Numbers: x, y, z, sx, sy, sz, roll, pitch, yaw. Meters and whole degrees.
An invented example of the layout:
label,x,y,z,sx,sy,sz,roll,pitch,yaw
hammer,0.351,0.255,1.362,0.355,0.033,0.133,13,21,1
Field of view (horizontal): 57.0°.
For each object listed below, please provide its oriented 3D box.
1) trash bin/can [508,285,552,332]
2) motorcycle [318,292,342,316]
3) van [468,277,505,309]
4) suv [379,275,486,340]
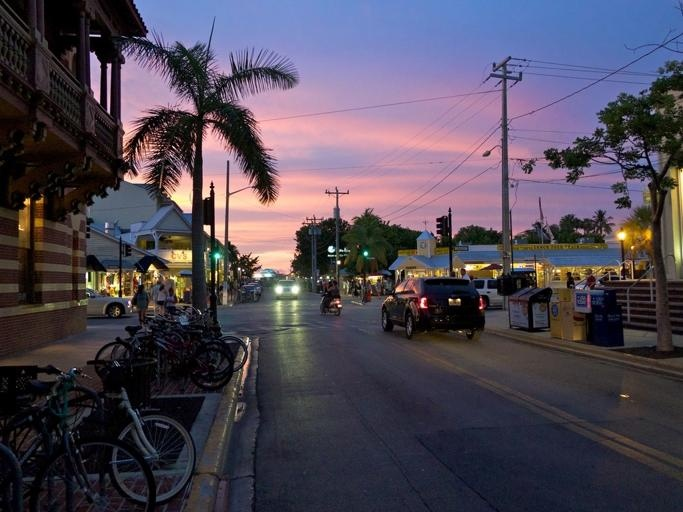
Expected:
label,x,y,z,sx,sy,sz,roll,pitch,yaw
trash bin/can,6.280,1.801,20.973,0.746,1.401,1.519,1,-5,-26
motorcycle,-0.584,2.536,32.231,0.635,0.860,1.367,2,-1,-13
van,8.703,2.463,36.698,2.903,1.621,1.808,-2,4,4
suv,2.873,1.809,21.502,2.336,2.122,5.482,0,-3,-12
